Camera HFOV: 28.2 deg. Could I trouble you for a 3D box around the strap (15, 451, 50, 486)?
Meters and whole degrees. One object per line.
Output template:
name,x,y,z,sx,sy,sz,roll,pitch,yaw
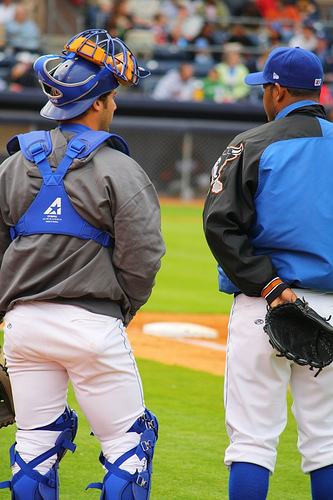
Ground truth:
strap,-0.444,0.723,2.176,0.111,0.102,0.033,3,7,4

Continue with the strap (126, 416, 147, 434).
strap,-0.098,0.571,2.178,0.057,0.029,0.043,-41,2,-43

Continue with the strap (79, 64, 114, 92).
strap,-0.236,-0.572,2.223,0.110,0.058,0.079,-44,39,-2

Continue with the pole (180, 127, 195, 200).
pole,0.438,-1.815,14.528,0.242,1.450,0.481,3,7,1

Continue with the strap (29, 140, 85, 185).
strap,-0.365,-0.287,2.174,0.179,0.148,0.064,5,8,21

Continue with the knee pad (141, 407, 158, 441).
knee pad,-0.049,0.583,2.231,0.034,0.079,0.067,-12,2,17

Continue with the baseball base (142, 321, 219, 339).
baseball base,0.122,0.709,5.872,0.685,0.050,0.598,2,6,-2

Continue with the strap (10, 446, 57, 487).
strap,-0.437,0.704,2.189,0.092,0.034,0.158,28,33,28
